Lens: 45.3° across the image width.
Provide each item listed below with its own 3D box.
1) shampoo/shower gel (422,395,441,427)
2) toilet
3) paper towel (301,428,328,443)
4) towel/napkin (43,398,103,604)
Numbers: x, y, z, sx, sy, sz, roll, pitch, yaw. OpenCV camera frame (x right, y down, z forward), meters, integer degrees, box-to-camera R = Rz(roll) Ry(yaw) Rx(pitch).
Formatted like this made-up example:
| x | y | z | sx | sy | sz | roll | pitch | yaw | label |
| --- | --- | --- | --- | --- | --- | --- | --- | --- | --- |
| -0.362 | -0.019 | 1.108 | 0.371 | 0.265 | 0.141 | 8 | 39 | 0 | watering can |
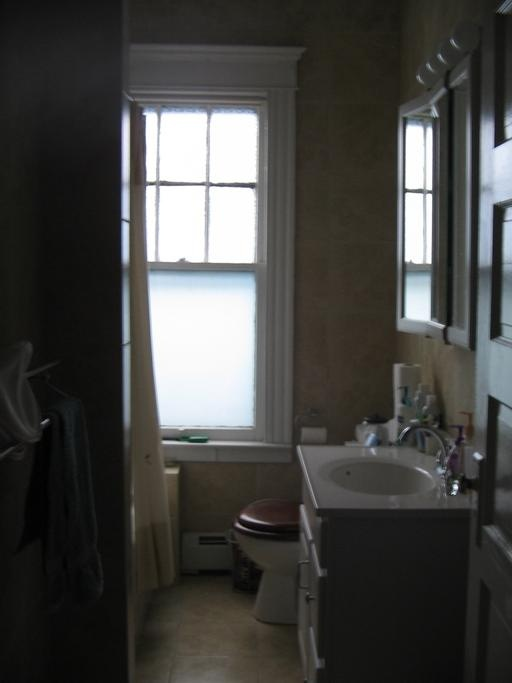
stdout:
| x | y | z | sx | sy | sz | roll | pitch | yaw | label |
| --- | --- | --- | --- | --- | --- | --- | --- | --- | --- |
| 0.530 | 0.210 | 1.856 | 0.052 | 0.088 | 0.116 | 2 | 4 | 17 | shampoo/shower gel |
| 0.057 | 0.762 | 2.117 | 0.252 | 0.492 | 0.258 | 0 | -1 | -1 | toilet |
| 0.222 | 0.367 | 2.373 | 0.063 | 0.071 | 0.019 | -2 | 2 | -3 | paper towel |
| -0.334 | 0.302 | 1.127 | 0.089 | 0.382 | 0.136 | 0 | 3 | -8 | towel/napkin |
